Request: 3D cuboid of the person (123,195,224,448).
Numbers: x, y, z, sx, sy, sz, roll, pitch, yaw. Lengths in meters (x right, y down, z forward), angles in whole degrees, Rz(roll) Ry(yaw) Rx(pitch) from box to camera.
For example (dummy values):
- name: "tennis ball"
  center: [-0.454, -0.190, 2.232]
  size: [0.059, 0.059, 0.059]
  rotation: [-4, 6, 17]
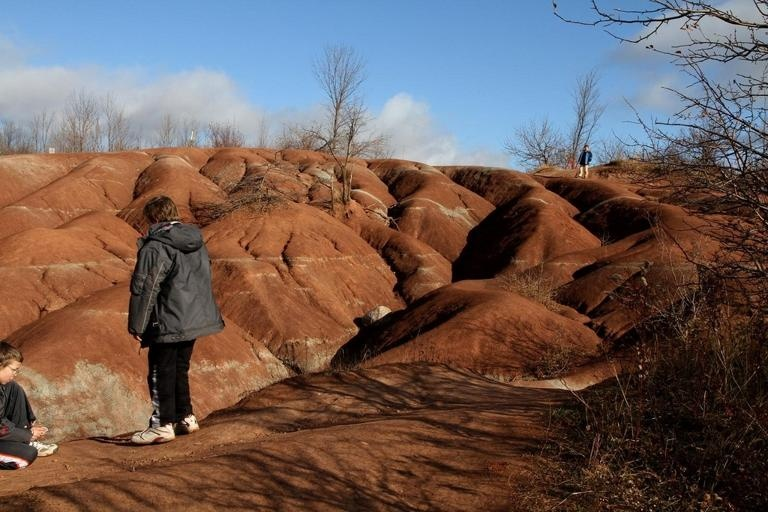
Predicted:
- name: "person"
  center: [-2.906, 0.877, 7.762]
  size: [1.102, 3.417, 0.714]
  rotation: [-2, 0, -24]

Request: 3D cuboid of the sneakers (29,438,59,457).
- name: "sneakers"
  center: [-4.558, 2.511, 7.462]
  size: [0.376, 0.242, 0.132]
  rotation: [-1, 3, -4]
